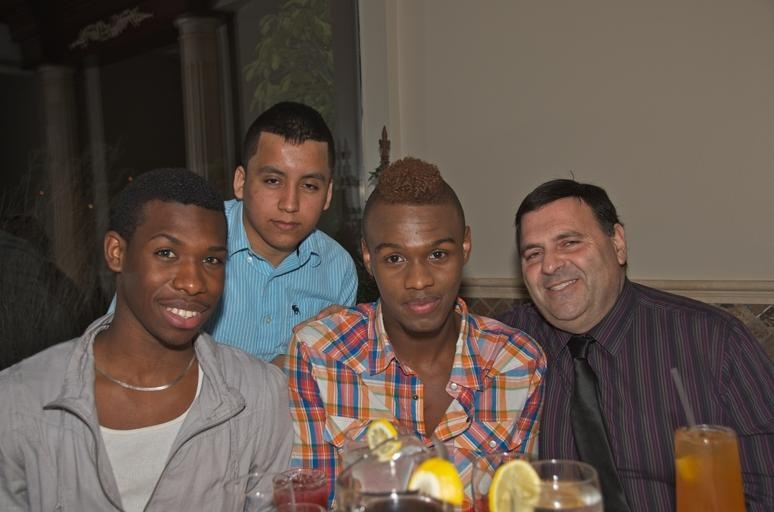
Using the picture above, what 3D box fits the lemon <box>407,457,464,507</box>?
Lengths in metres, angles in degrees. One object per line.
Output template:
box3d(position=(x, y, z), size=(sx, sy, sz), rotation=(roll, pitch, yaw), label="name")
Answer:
box3d(position=(0.173, 0.718, 2.022), size=(0.212, 0.161, 0.096), rotation=(1, 3, -26), label="lemon")

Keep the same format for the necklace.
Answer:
box3d(position=(-1.198, 0.516, 3.095), size=(0.471, 0.113, 0.403), rotation=(6, 3, -39), label="necklace")
